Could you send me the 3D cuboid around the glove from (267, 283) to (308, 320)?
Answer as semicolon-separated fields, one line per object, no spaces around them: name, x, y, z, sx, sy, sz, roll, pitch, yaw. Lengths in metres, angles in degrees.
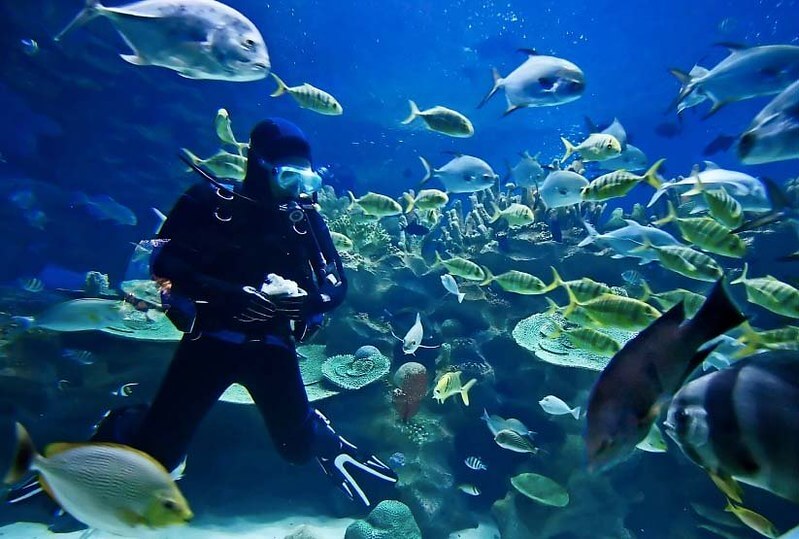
glove;-2.083;0.539;10.851;0.725;0.659;0.260;14;-5;-15
